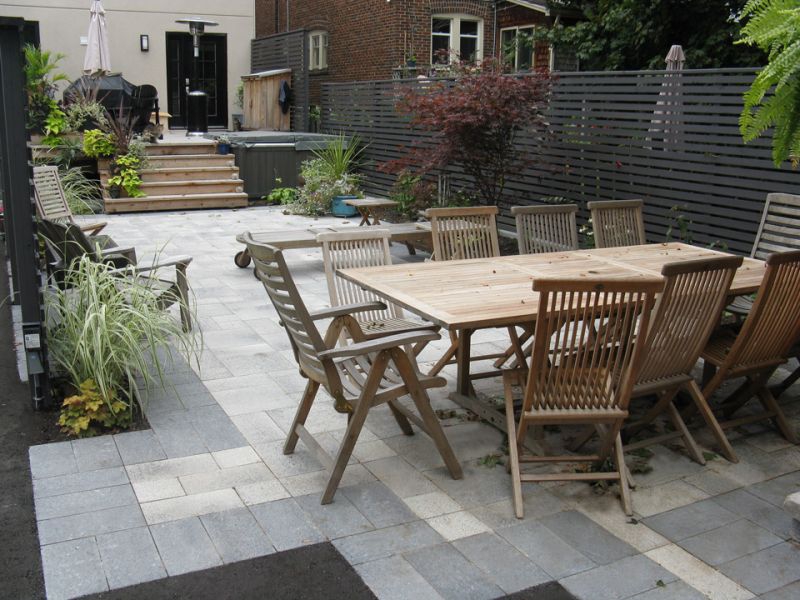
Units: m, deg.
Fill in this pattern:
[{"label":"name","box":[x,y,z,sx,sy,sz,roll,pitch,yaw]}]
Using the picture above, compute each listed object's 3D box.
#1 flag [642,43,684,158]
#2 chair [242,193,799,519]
[{"label":"flag","box":[3.430,-2.400,7.272,0.239,0.989,0.553,-8,24,-17]},{"label":"chair","box":[1.108,0.156,4.052,2.672,1.178,1.478,-9,22,-24]}]
